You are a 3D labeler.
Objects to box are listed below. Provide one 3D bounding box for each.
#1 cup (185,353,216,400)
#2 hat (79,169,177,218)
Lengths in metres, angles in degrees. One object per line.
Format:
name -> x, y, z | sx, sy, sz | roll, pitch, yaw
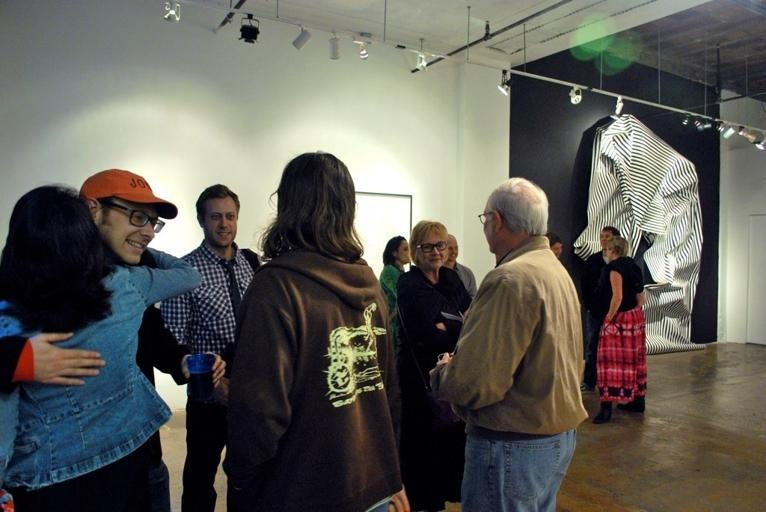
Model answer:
cup -> -0.985, 0.668, 3.205 | 0.165, 0.229, 0.155 | -8, -11, -1
hat -> -1.364, -0.335, 3.080 | 0.423, 0.212, 0.302 | -6, -1, -8
